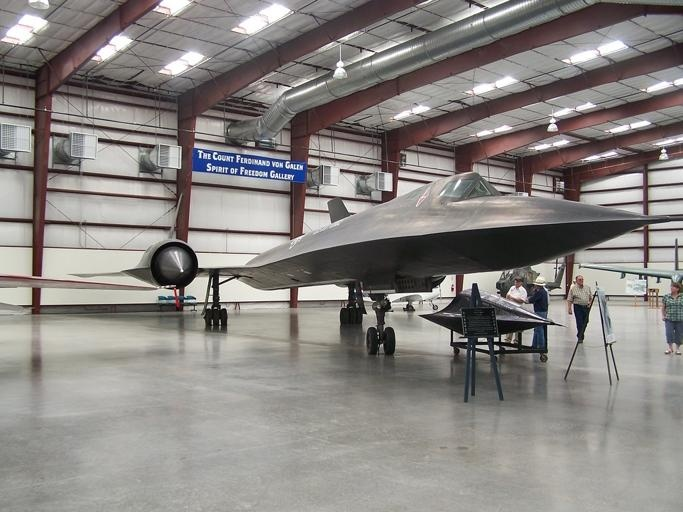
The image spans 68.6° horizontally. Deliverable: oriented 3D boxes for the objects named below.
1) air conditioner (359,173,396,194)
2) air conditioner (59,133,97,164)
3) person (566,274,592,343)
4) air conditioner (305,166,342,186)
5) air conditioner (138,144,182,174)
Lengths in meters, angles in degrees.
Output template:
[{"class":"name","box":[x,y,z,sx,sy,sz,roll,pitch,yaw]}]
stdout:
[{"class":"air conditioner","box":[2.239,-4.377,29.844,1.984,1.026,1.273,-1,-2,41]},{"class":"air conditioner","box":[-11.717,-4.629,21.621,1.423,1.065,2.047,3,-1,-40]},{"class":"person","box":[6.166,1.211,12.227,0.803,1.468,0.578,-2,2,-26]},{"class":"air conditioner","box":[-0.855,-4.496,28.077,1.647,0.884,1.411,-4,-7,42]},{"class":"air conditioner","box":[-8.831,-4.621,23.671,2.028,1.098,1.424,1,0,39]}]
